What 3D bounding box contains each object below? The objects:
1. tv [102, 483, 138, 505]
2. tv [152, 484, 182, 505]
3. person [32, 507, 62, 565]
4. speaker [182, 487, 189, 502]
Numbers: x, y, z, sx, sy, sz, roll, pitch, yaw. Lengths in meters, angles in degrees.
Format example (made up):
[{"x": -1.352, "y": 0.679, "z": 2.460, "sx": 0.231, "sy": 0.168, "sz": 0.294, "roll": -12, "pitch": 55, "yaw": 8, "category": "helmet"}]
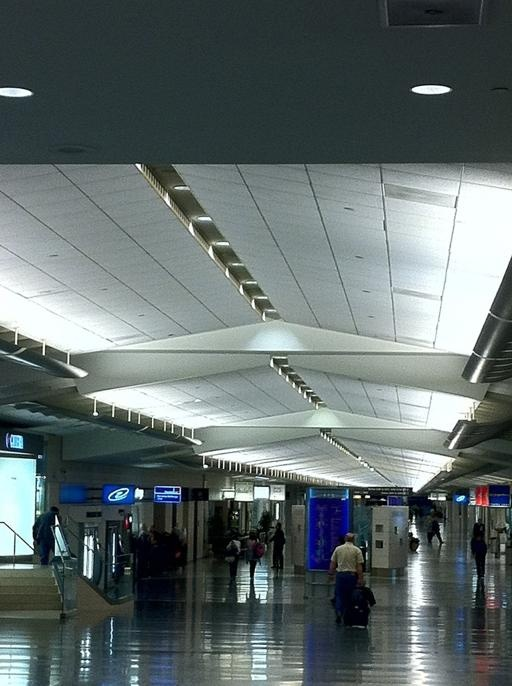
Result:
[{"x": -5.846, "y": 6.508, "z": 26.963, "sx": 0.903, "sy": 0.816, "sz": 1.396, "roll": 0, "pitch": -14, "yaw": 27, "category": "tv"}, {"x": -4.447, "y": 7.828, "z": 32.529, "sx": 1.326, "sy": 0.975, "sz": 1.867, "roll": -5, "pitch": -12, "yaw": 19, "category": "tv"}, {"x": -6.055, "y": 5.569, "z": 18.124, "sx": 0.615, "sy": 1.578, "sz": 0.788, "roll": 11, "pitch": -14, "yaw": -13, "category": "person"}, {"x": -4.220, "y": 9.150, "z": 37.914, "sx": 0.507, "sy": 0.764, "sz": 1.714, "roll": 9, "pitch": -12, "yaw": -5, "category": "speaker"}]
